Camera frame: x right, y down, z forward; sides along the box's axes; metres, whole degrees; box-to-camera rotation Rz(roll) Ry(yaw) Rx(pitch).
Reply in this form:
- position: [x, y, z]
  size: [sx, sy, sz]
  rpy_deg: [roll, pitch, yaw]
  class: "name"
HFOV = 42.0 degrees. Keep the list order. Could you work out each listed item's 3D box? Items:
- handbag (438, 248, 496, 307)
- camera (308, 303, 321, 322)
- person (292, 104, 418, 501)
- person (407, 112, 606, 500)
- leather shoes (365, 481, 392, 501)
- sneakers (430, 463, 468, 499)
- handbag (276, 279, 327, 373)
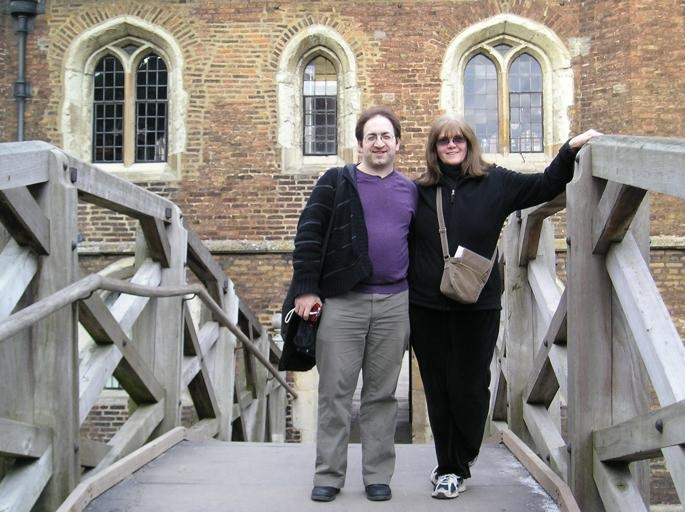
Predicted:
- position: [0.719, 0.102, 5.114]
  size: [0.319, 0.307, 0.194]
  rpy_deg: [0, 6, -1]
  class: "handbag"
- position: [-0.155, 0.326, 5.123]
  size: [0.047, 0.105, 0.066]
  rpy_deg: [16, -8, -37]
  class: "camera"
- position: [0.049, 0.246, 5.163]
  size: [0.740, 2.199, 0.629]
  rpy_deg: [0, 6, 4]
  class: "person"
- position: [0.790, 0.250, 5.302]
  size: [0.794, 2.148, 0.644]
  rpy_deg: [-2, 7, -20]
  class: "person"
- position: [0.205, 1.328, 5.025]
  size: [0.144, 0.075, 0.094]
  rpy_deg: [0, 6, 0]
  class: "leather shoes"
- position: [0.609, 1.281, 5.116]
  size: [0.206, 0.138, 0.227]
  rpy_deg: [1, 6, 6]
  class: "sneakers"
- position: [-0.233, 0.427, 5.109]
  size: [0.197, 0.470, 0.083]
  rpy_deg: [1, 28, -39]
  class: "handbag"
